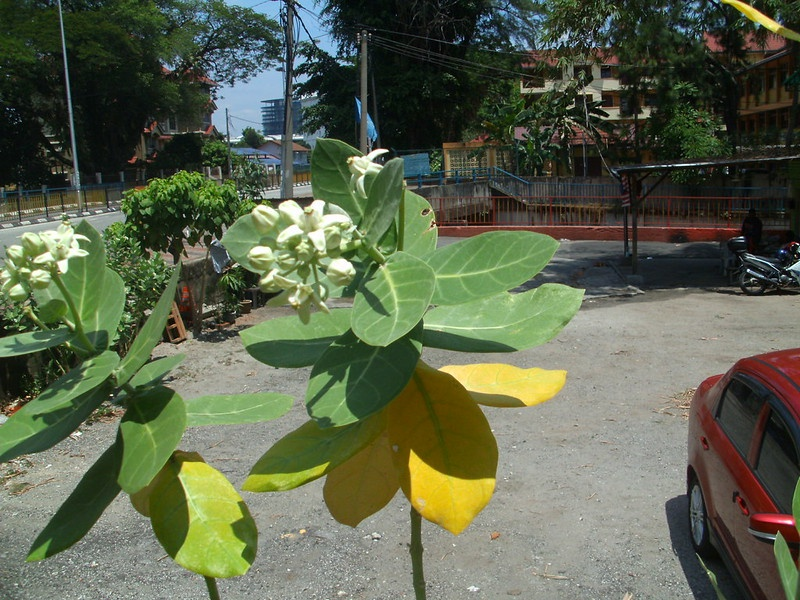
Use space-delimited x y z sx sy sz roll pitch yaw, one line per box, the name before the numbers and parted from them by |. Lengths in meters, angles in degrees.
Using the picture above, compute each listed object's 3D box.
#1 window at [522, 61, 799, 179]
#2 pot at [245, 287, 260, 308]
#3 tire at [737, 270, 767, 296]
window | 13.988 -9.411 29.376 11.993 4.950 6.870 -1 12 2
pot | -3.318 -0.056 12.372 0.370 0.402 0.399 -1 10 0
tire | 8.504 -0.399 13.407 0.482 0.559 0.105 11 20 26
